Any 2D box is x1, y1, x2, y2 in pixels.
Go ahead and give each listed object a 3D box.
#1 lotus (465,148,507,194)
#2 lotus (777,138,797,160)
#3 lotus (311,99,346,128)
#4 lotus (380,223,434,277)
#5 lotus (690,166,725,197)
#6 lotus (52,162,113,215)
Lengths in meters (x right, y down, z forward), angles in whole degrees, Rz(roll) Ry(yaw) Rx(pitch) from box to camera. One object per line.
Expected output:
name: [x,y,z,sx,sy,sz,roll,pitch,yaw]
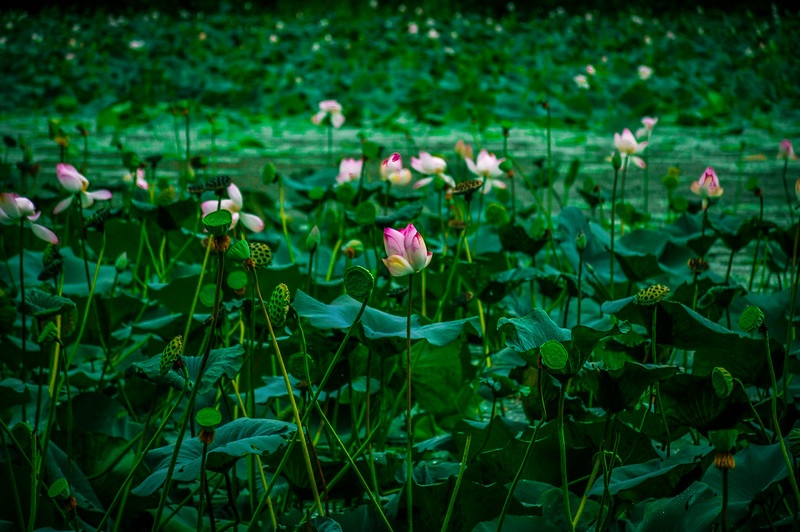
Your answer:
lotus: [0.324,-0.341,3.451,0.144,0.187,0.166,7,-14,-28]
lotus: [1.475,-0.448,3.543,0.051,0.089,0.179,1,16,22]
lotus: [-0.322,-0.659,4.044,0.130,0.130,0.293,-6,15,-5]
lotus: [0.014,-0.048,2.694,0.135,0.153,0.105,-6,14,-5]
lotus: [1.084,-0.307,3.265,0.094,0.081,0.132,1,54,7]
lotus: [-1.029,-0.255,3.011,0.171,0.172,0.171,-8,15,-16]
